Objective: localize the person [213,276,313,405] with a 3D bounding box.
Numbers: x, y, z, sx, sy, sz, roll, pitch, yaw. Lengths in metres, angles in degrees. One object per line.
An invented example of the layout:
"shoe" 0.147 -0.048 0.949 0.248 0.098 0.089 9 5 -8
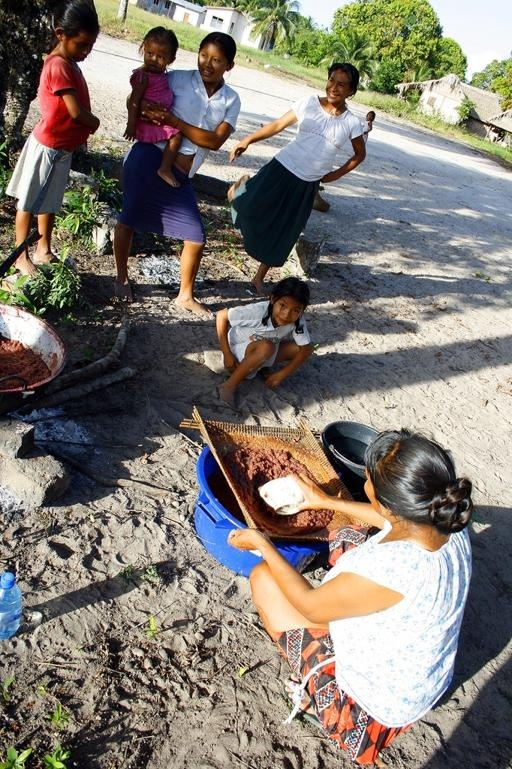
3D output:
"person" 0.096 -0.288 3.584 0.597 0.796 0.418 -2 25 -43

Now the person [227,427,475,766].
"person" 0.297 0.761 1.990 0.603 1.124 0.692 -25 54 -28

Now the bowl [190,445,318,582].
"bowl" -0.071 0.608 2.553 0.561 0.203 0.560 24 29 -15

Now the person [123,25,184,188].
"person" -0.608 -1.742 3.691 0.396 0.889 0.300 9 19 -18

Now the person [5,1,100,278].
"person" -1.229 -1.487 3.623 0.473 1.635 0.715 7 20 -25

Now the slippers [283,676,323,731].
"slippers" 0.148 1.109 2.103 0.070 0.117 0.192 -13 36 -36

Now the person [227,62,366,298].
"person" 0.250 -1.463 4.377 0.948 1.749 0.900 13 18 -8

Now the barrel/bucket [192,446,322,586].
"barrel/bucket" -0.078 0.612 2.555 0.564 0.202 0.567 24 30 -15

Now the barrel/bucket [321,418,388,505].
"barrel/bucket" 0.523 0.397 3.234 0.374 0.322 0.387 3 37 -2
